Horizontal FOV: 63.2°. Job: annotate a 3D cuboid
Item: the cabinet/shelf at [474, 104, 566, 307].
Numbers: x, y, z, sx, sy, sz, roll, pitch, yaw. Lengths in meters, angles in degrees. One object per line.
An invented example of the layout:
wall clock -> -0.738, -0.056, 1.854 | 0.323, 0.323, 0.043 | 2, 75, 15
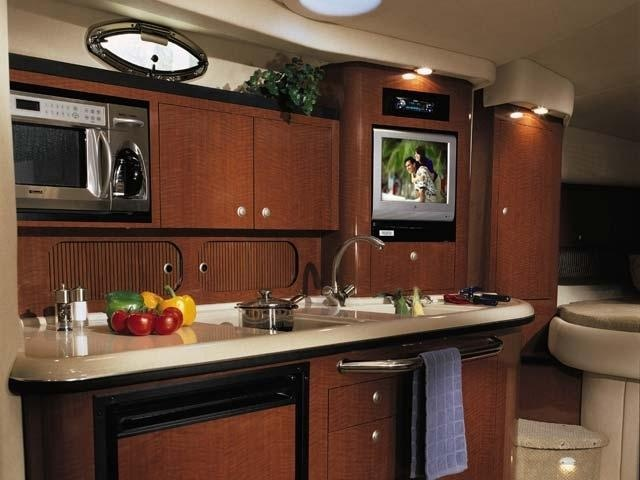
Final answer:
cabinet/shelf -> 1.509, -0.194, 4.444 | 0.857, 1.542, 0.833 | -1, 5, -3

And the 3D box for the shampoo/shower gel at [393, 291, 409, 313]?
shampoo/shower gel -> 0.453, 0.354, 2.928 | 0.092, 0.131, 0.217 | 0, 2, 9

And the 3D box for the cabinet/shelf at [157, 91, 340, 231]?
cabinet/shelf -> -0.481, -0.407, 3.008 | 1.131, 0.671, 0.379 | -2, 5, -40

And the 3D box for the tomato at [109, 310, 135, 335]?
tomato -> -0.807, 0.329, 2.164 | 0.098, 0.101, 0.097 | 9, 3, -9

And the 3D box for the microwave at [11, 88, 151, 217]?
microwave -> -1.157, -0.257, 2.483 | 0.726, 0.479, 0.461 | 1, -4, -40

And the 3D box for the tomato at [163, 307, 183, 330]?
tomato -> -0.605, 0.325, 2.156 | 0.080, 0.083, 0.079 | -1, 1, -8

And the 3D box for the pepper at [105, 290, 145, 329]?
pepper -> -0.897, 0.282, 2.297 | 0.126, 0.144, 0.137 | -14, 27, -42

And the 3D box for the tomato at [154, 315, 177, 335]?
tomato -> -0.621, 0.339, 2.096 | 0.079, 0.082, 0.079 | 0, -2, -3

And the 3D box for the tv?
tv -> 0.564, -0.426, 3.292 | 0.607, 0.572, 0.061 | 1, -2, -23

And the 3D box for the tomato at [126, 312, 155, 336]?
tomato -> -0.725, 0.325, 2.091 | 0.092, 0.092, 0.091 | 0, 3, -33

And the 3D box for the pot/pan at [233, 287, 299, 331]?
pot/pan -> -0.244, 0.351, 2.554 | 0.304, 0.197, 0.314 | -1, 2, -2

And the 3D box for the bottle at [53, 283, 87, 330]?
bottle -> -1.100, 0.306, 2.300 | 0.121, 0.179, 0.069 | -2, 3, -23
